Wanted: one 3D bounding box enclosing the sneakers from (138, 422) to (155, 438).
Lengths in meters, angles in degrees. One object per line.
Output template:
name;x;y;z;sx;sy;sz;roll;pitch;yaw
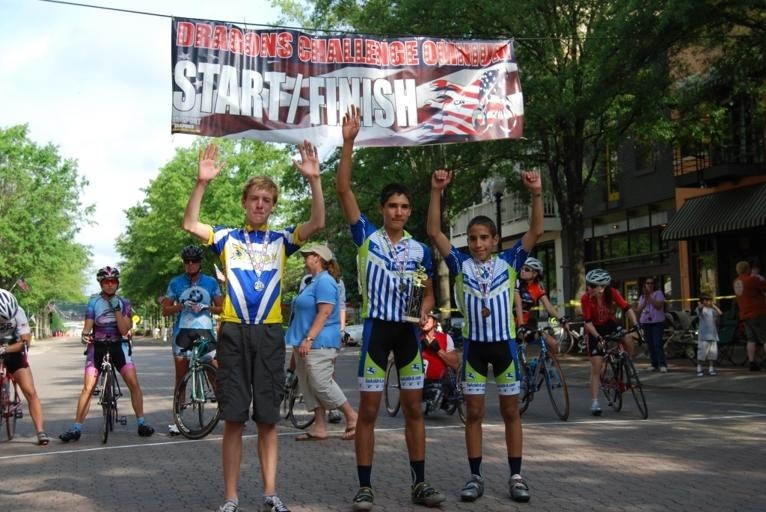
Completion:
sneakers;-3.724;2.714;11.691;0.265;0.253;0.151;0;7;-10

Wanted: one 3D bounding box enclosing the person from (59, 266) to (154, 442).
person;-4.348;1.495;11.761;1.253;2.676;0.517;0;-6;-19

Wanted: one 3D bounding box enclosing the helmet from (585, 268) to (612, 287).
helmet;3.801;0.368;13.085;0.361;0.313;0.612;-4;-7;13

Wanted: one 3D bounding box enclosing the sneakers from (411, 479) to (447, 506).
sneakers;0.493;2.591;8.140;0.396;0.211;0.190;-8;-7;42

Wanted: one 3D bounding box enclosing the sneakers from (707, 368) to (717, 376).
sneakers;8.059;2.789;18.146;0.142;0.171;0.401;-1;1;32

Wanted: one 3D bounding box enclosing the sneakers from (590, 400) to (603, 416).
sneakers;3.736;2.626;12.935;0.133;0.156;0.367;-1;-10;0

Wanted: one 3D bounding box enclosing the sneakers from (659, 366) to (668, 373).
sneakers;7.262;2.893;19.161;0.116;0.128;0.322;-3;-9;14

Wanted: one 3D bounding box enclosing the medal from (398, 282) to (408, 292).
medal;0.227;0.332;8.222;0.097;0.099;0.025;-10;0;-10

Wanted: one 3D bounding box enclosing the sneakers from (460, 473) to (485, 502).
sneakers;1.019;2.570;8.304;0.331;0.261;0.277;-1;-6;-12

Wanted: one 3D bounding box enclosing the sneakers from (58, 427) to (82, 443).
sneakers;-4.806;2.729;11.439;0.312;0.197;0.281;1;-7;-24

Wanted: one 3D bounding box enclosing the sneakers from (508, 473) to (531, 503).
sneakers;1.517;2.557;8.236;0.224;0.278;0.188;-3;-6;10

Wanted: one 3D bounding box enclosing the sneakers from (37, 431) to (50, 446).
sneakers;-5.137;2.744;11.264;0.153;0.181;0.262;1;-7;-31

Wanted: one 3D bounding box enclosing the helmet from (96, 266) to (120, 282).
helmet;-3.982;0.254;10.779;0.183;0.213;0.245;4;-19;-32

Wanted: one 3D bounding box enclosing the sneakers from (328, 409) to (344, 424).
sneakers;-0.818;2.802;13.037;0.162;0.186;0.442;1;-13;-8

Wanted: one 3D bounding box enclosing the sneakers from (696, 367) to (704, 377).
sneakers;7.780;2.797;18.125;0.135;0.171;0.409;-1;-9;1

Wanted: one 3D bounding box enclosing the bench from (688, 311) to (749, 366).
bench;8.921;2.051;20.143;0.753;1.030;0.933;3;15;-19

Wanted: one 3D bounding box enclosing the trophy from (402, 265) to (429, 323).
trophy;0.404;0.411;8.297;0.138;0.635;0.346;-8;-8;44

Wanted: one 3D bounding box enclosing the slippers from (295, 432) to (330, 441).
slippers;-1.074;2.752;11.335;0.404;0.113;0.176;5;-8;-4

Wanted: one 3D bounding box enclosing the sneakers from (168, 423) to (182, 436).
sneakers;-3.272;2.731;11.759;0.114;0.229;0.336;9;-8;-39

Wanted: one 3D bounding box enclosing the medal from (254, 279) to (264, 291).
medal;-1.336;0.301;8.013;0.082;0.113;0.043;-1;-13;-10
